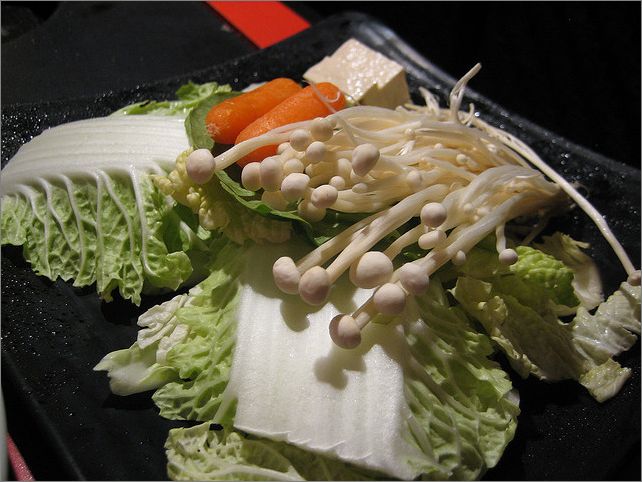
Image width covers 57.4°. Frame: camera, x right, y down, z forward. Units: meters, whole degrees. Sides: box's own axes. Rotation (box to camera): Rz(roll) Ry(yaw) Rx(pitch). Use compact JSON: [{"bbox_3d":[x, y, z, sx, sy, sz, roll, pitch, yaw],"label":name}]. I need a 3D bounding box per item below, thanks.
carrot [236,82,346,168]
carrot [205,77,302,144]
[{"bbox_3d":[-0.089,-0.458,2.111,0.532,0.184,0.166,-36,90,-29],"label":"carrot"},{"bbox_3d":[-0.328,-0.446,2.161,0.124,0.369,0.130,-24,95,-37],"label":"carrot"}]
